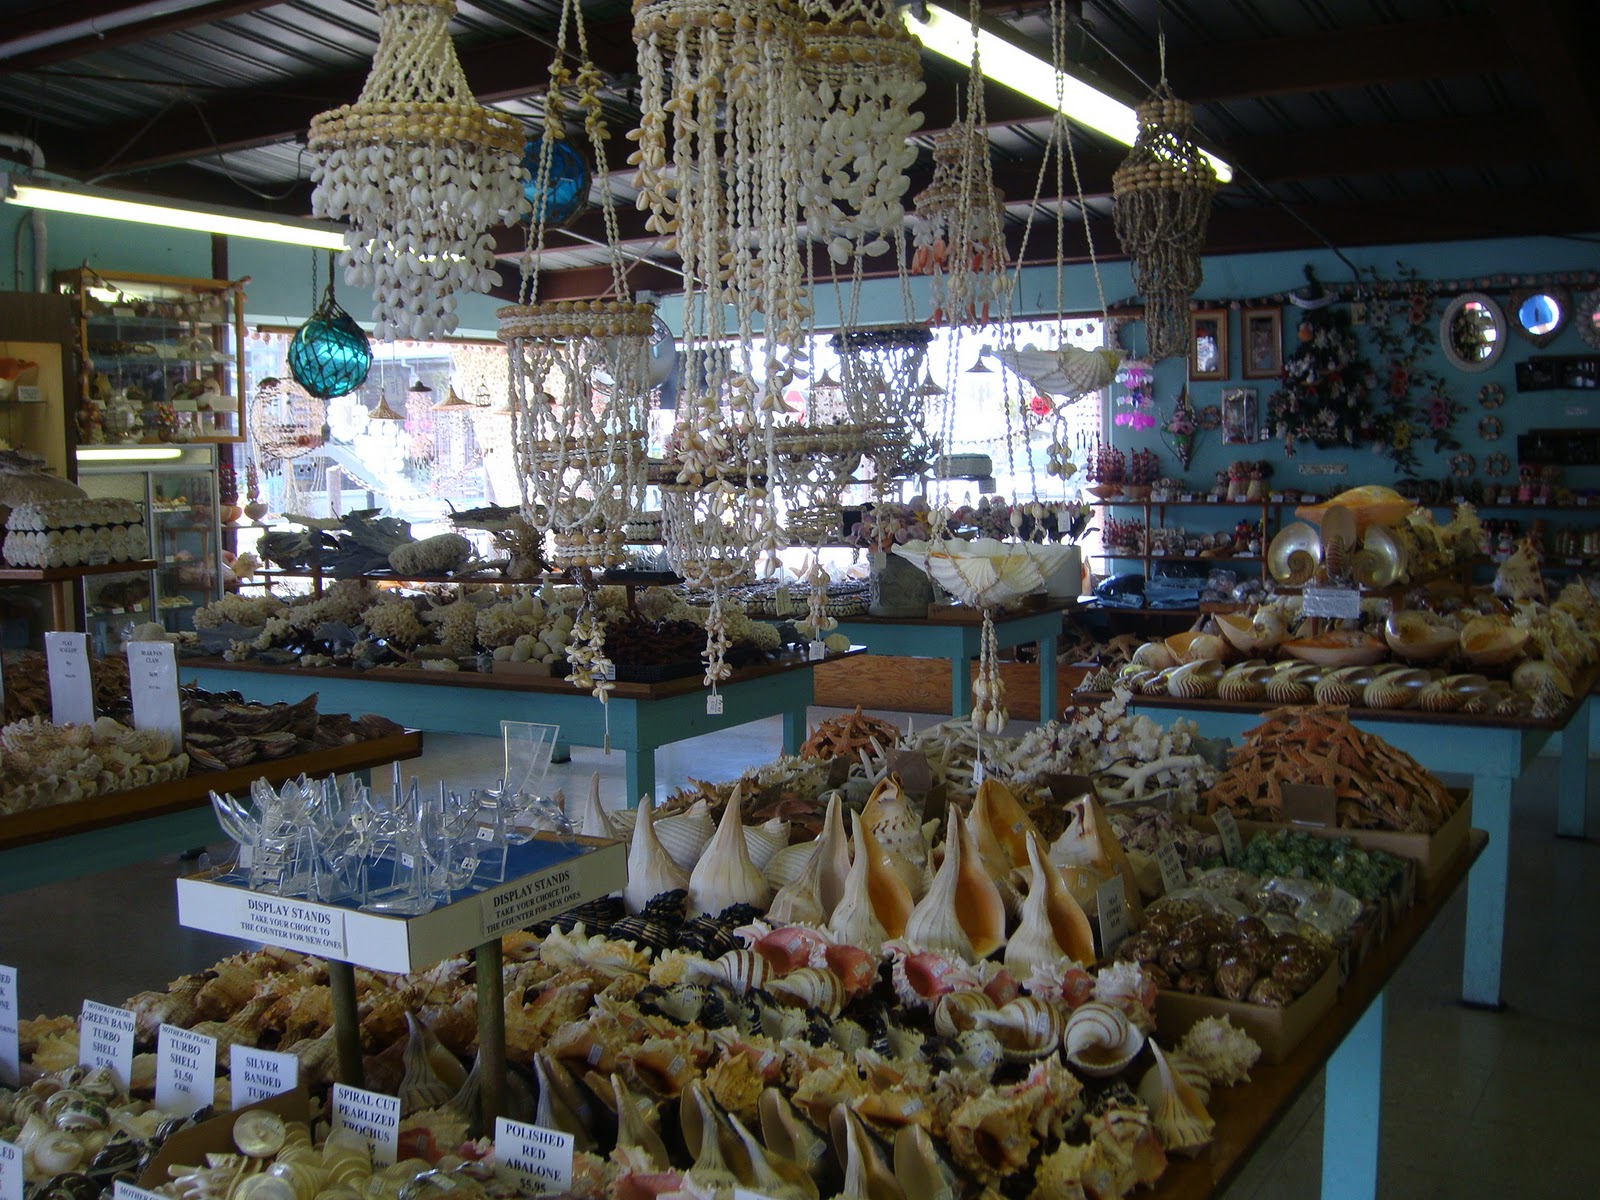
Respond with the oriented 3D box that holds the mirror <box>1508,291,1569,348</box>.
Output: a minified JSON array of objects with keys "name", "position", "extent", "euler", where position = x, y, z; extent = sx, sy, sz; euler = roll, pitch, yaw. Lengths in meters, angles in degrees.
[{"name":"mirror","position":[5.786,-2.197,9.623],"extent":[0.440,0.521,0.064],"euler":[-2,1,36]}]

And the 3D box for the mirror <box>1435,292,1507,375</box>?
[{"name":"mirror","position":[5.363,-2.119,9.801],"extent":[0.616,0.754,0.078],"euler":[-5,-1,40]}]

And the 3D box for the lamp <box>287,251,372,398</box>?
[{"name":"lamp","position":[-2.786,-1.519,7.264],"extent":[0.467,0.652,0.358],"euler":[-1,8,-9]}]
